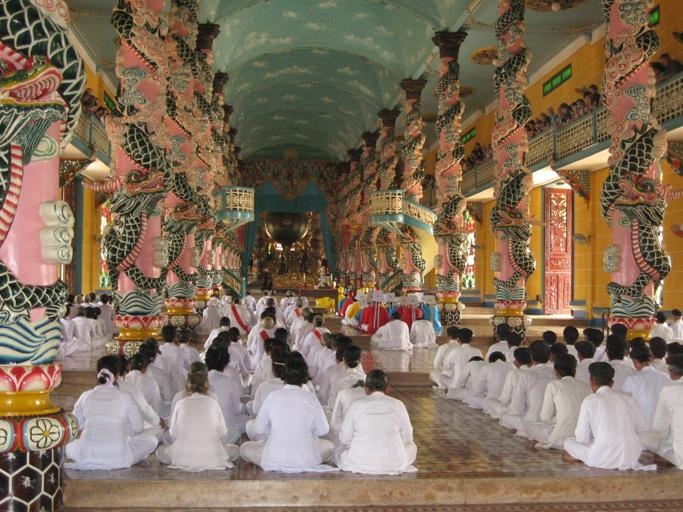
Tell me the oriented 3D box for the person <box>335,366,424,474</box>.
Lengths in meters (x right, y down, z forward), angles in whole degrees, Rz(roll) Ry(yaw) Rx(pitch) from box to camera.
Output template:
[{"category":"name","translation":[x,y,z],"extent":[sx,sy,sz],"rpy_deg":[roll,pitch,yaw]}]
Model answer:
[{"category":"person","translation":[0.367,1.615,7.448],"extent":[0.741,0.988,0.242],"rpy_deg":[2,-8,-1]}]

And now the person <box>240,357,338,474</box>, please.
[{"category":"person","translation":[-0.505,1.569,7.655],"extent":[0.905,1.120,0.507],"rpy_deg":[1,-8,-1]}]

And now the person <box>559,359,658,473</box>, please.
[{"category":"person","translation":[2.621,1.578,7.547],"extent":[0.818,1.041,0.397],"rpy_deg":[-1,-9,15]}]

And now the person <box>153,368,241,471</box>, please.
[{"category":"person","translation":[-1.457,1.627,7.651],"extent":[0.816,0.898,0.554],"rpy_deg":[0,-1,-7]}]
